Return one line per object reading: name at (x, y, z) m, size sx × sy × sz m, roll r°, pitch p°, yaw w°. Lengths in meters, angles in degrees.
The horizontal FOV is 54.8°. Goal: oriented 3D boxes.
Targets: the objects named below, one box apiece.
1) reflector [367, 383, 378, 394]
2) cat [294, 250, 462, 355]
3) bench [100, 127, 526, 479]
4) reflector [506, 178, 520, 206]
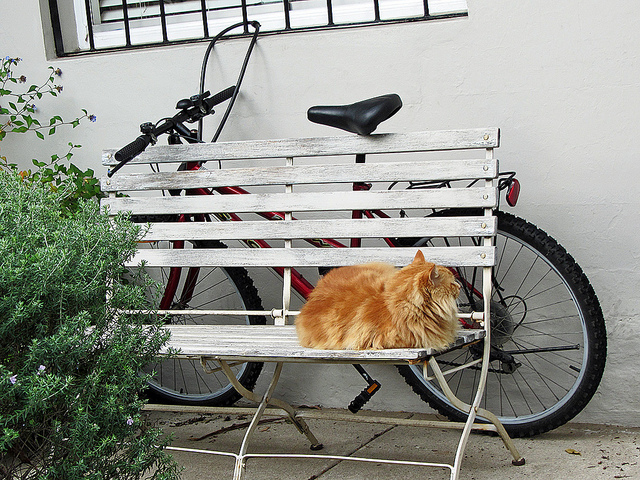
reflector at (0.219, 0.616, 2.558) m, size 0.035 × 0.039 × 0.019 m, roll 2°, pitch 2°, yaw 5°
cat at (0.219, 0.144, 2.225) m, size 0.652 × 0.375 × 0.454 m, roll -2°, pitch 5°, yaw 7°
bench at (0.027, 0.260, 2.541) m, size 1.583 × 1.066 × 0.723 m, roll 1°, pitch 3°, yaw 11°
reflector at (0.838, -0.199, 2.640) m, size 0.031 × 0.115 × 0.064 m, roll 18°, pitch -10°, yaw -25°
